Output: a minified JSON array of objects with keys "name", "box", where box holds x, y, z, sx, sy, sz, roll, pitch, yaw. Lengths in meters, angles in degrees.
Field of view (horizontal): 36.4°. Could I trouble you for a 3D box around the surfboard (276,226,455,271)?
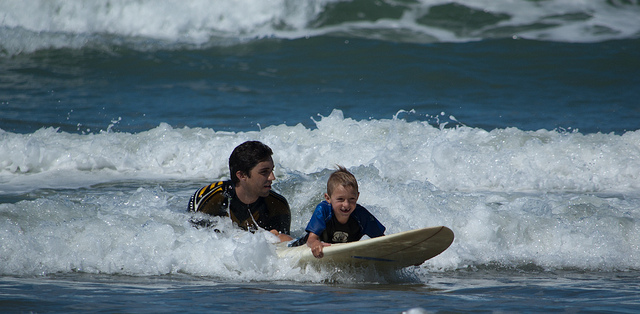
[{"name":"surfboard","box":[1.426,2.186,24.926,5.073,1.141,0.420,-5,42,1]}]
